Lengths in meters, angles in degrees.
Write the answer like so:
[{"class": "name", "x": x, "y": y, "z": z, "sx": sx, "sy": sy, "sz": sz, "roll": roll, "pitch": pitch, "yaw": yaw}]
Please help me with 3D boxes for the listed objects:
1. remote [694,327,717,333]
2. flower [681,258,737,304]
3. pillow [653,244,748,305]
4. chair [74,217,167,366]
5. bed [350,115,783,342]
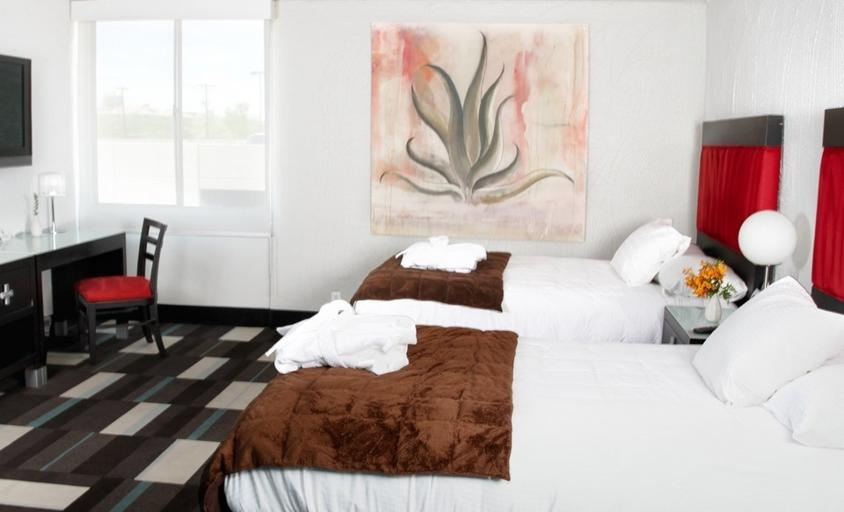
[{"class": "remote", "x": 2.009, "y": 0.533, "z": 3.942, "sx": 0.071, "sy": 0.030, "sz": 0.092, "roll": 0, "pitch": 0, "yaw": 12}, {"class": "flower", "x": 2.208, "y": 0.219, "z": 4.285, "sx": 0.347, "sy": 0.272, "sz": 0.339, "roll": -2, "pitch": -9, "yaw": 8}, {"class": "pillow", "x": 2.233, "y": 0.148, "z": 4.647, "sx": 0.424, "sy": 0.140, "sz": 0.473, "roll": -26, "pitch": 29, "yaw": 0}, {"class": "chair", "x": -2.989, "y": 0.300, "z": 5.486, "sx": 0.842, "sy": 1.258, "sz": 0.894, "roll": 9, "pitch": 10, "yaw": 26}, {"class": "bed", "x": 1.479, "y": -0.070, "z": 5.130, "sx": 2.473, "sy": 1.637, "sz": 2.145, "roll": 0, "pitch": 11, "yaw": 8}]
